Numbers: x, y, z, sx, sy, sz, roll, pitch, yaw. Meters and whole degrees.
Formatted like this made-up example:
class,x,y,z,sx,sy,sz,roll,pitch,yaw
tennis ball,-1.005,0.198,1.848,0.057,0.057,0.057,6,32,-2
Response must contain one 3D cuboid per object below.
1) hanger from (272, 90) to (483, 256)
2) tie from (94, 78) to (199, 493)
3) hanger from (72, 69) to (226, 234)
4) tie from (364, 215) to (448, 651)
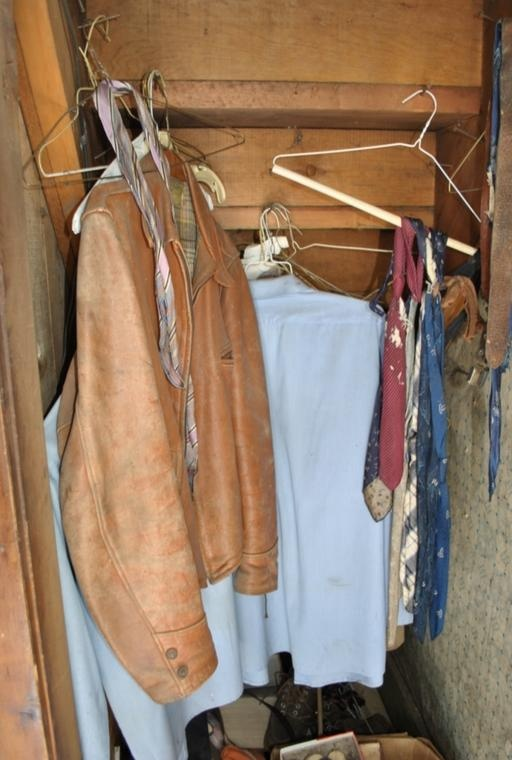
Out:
class,x,y,z,sx,sy,sz,roll,pitch,yaw
hanger,0.255,-0.447,1.607,0.246,0.198,0.012,18,19,-13
tie,-0.159,-0.140,1.228,0.101,0.661,0.250,-6,25,-5
hanger,-0.183,-0.384,1.270,0.016,0.217,0.283,5,36,25
tie,0.289,0.108,1.493,0.162,0.823,0.244,0,24,10
